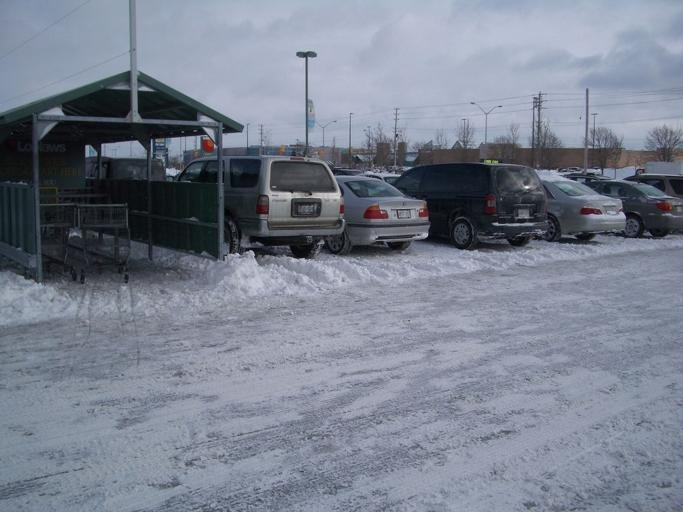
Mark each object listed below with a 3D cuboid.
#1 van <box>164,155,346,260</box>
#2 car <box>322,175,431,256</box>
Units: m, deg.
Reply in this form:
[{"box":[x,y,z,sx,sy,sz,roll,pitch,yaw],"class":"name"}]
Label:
[{"box":[-1.783,-1.177,11.901,1.761,1.295,3.269,-5,12,-37],"class":"van"},{"box":[0.919,-0.935,12.755,1.310,0.980,2.989,-6,12,-29],"class":"car"}]
